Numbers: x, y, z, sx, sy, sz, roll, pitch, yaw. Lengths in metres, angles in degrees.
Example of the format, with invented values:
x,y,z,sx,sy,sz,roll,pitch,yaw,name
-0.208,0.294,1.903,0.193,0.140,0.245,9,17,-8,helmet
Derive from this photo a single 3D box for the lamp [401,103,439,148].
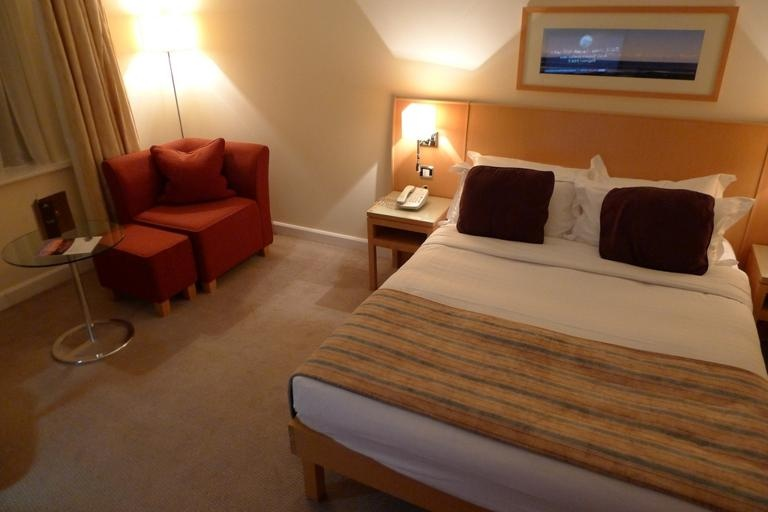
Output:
x,y,z,sx,sy,sz,roll,pitch,yaw,name
0.302,-1.138,4.637,0.335,0.299,0.329,0,36,3,lamp

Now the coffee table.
x,y,z,sx,sy,sz,roll,pitch,yaw,name
-2.392,0.261,4.257,0.910,0.851,0.750,12,27,20,coffee table

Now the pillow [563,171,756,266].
x,y,z,sx,sy,sz,roll,pitch,yaw,name
1.921,-0.431,3.823,0.895,0.760,0.269,10,-14,22,pillow

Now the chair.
x,y,z,sx,sy,sz,roll,pitch,yaw,name
-1.624,-0.505,5.259,1.406,1.435,1.401,10,32,19,chair

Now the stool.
x,y,z,sx,sy,sz,roll,pitch,yaw,name
-1.968,0.102,4.483,0.658,0.453,0.344,17,34,26,stool

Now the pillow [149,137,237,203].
x,y,z,sx,sy,sz,roll,pitch,yaw,name
-1.746,-0.763,4.945,0.525,0.421,0.269,-13,25,-22,pillow

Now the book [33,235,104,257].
x,y,z,sx,sy,sz,roll,pitch,yaw,name
-2.369,-0.075,4.066,0.403,0.036,0.307,-2,25,-9,book
